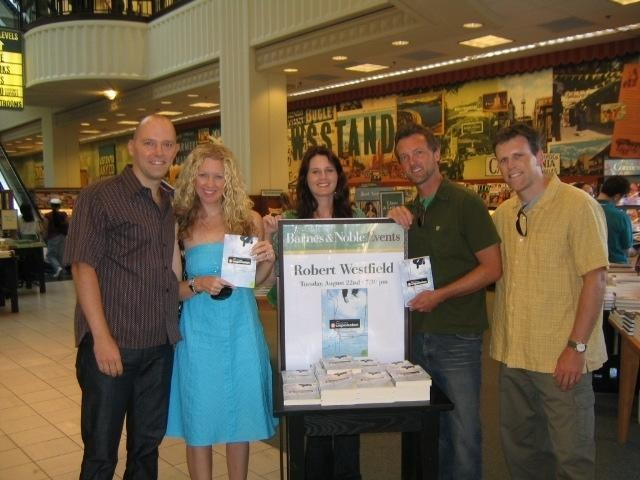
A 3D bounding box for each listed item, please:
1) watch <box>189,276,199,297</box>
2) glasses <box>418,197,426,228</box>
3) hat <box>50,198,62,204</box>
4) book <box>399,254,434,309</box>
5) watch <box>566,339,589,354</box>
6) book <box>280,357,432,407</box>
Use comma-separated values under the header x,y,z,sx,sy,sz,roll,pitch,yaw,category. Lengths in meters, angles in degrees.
x,y,z,sx,sy,sz,roll,pitch,yaw,category
-0.743,0.276,3.168,0.039,0.073,0.081,-14,33,-8,watch
0.612,-0.179,3.302,0.033,0.138,0.100,5,-2,1,glasses
-5.927,-0.881,12.189,0.194,0.145,0.255,-6,8,-32,hat
0.452,0.220,2.834,0.175,0.243,0.242,-4,1,5,book
1.406,0.589,2.986,0.097,0.061,0.088,11,-4,-15,watch
0.162,0.696,2.687,0.706,0.154,0.277,-2,7,-3,book
